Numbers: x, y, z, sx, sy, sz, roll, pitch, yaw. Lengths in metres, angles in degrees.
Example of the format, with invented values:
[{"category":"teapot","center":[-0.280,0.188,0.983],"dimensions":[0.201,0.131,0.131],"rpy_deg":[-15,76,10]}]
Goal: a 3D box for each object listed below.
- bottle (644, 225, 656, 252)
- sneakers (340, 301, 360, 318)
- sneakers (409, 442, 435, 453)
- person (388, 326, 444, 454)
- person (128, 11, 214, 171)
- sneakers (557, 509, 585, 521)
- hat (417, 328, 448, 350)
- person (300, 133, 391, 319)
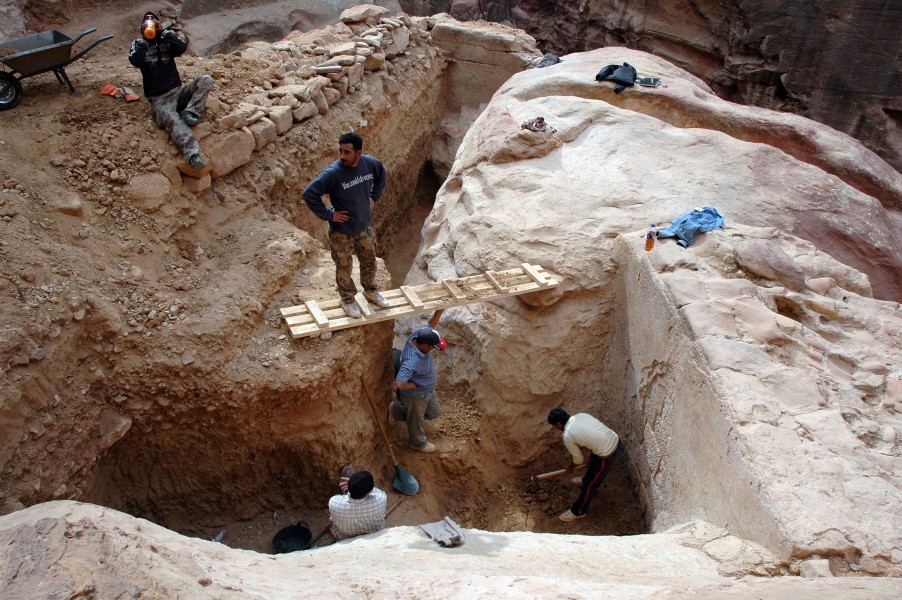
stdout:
[{"category":"bottle","center":[2.024,-0.625,6.885],"dimensions":[0.132,0.167,0.275],"rpy_deg":[1,70,27]},{"category":"sneakers","center":[-0.981,0.080,6.728],"dimensions":[0.108,0.079,0.196],"rpy_deg":[-40,69,-8]},{"category":"sneakers","center":[-0.316,1.614,7.444],"dimensions":[0.250,0.092,0.119],"rpy_deg":[1,33,5]},{"category":"person","center":[-0.360,0.930,7.186],"dimensions":[0.533,1.577,0.446],"rpy_deg":[-10,32,-10]},{"category":"person","center":[-2.959,-2.313,7.338],"dimensions":[0.696,1.407,1.087],"rpy_deg":[-16,32,-19]},{"category":"sneakers","center":[1.229,2.227,6.983],"dimensions":[0.253,0.100,0.102],"rpy_deg":[1,30,2]},{"category":"hat","center":[-0.192,0.376,6.756],"dimensions":[0.284,0.207,0.189],"rpy_deg":[2,31,9]},{"category":"person","center":[-0.915,-0.692,6.467],"dimensions":[0.811,1.767,0.358],"rpy_deg":[-23,36,-29]}]
